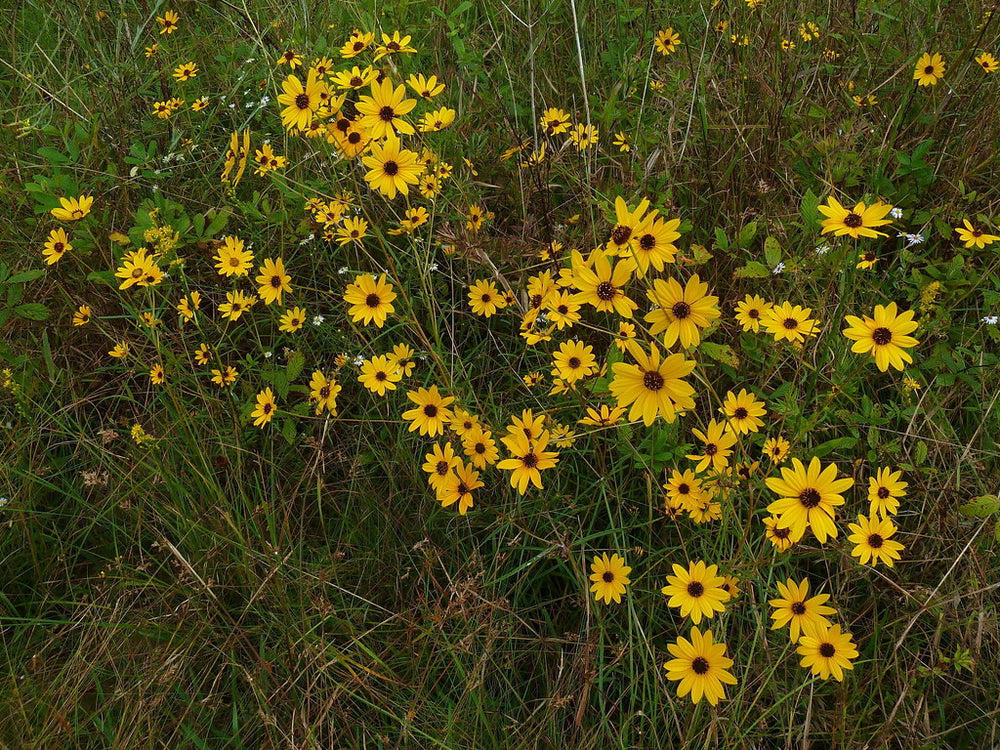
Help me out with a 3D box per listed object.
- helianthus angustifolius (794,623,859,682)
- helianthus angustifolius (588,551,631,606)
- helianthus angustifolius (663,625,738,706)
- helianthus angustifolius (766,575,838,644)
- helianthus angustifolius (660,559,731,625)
[{"bbox_3d":[0.996,0.842,2.359,0.166,0.048,0.183,-10,37,4],"label":"helianthus angustifolius"},{"bbox_3d":[0.367,0.705,2.591,0.135,0.224,0.169,-9,51,4],"label":"helianthus angustifolius"},{"bbox_3d":[0.607,0.868,2.323,0.244,0.077,0.263,5,22,-16],"label":"helianthus angustifolius"},{"bbox_3d":[0.922,0.713,2.376,0.157,0.155,0.051,1,91,-21],"label":"helianthus angustifolius"},{"bbox_3d":[0.594,0.662,2.363,0.201,0.223,0.055,-32,90,8],"label":"helianthus angustifolius"}]
